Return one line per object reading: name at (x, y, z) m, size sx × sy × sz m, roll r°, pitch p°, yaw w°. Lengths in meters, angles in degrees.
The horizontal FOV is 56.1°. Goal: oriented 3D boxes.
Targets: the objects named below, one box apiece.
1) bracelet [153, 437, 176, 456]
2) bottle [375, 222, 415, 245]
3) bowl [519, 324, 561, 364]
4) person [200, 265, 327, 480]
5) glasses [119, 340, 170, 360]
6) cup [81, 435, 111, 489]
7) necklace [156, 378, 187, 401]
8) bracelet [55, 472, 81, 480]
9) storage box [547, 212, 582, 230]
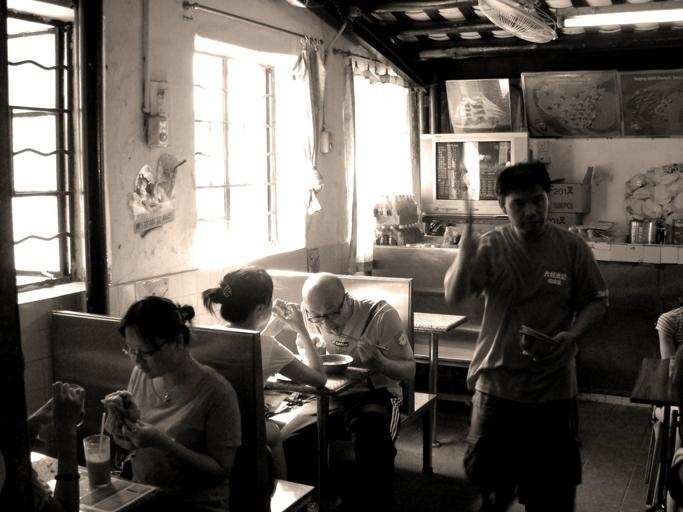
bracelet at (-0.640, 0.692, 2.349) m, size 0.061 × 0.065 × 0.063 m, roll 19°, pitch -1°, yaw -39°
bottle at (0.549, -0.213, 6.378) m, size 0.547 × 0.202 × 0.197 m, roll -8°, pitch 7°, yaw -38°
bowl at (0.827, 0.353, 2.658) m, size 0.152 × 0.067 × 0.140 m, roll 26°, pitch -5°, yaw 3°
person at (-0.443, 0.632, 3.214) m, size 0.557 × 1.122 × 0.567 m, roll -9°, pitch 17°, yaw -40°
glasses at (-0.747, 0.385, 2.521) m, size 0.103 × 0.034 × 0.111 m, roll -2°, pitch 19°, yaw 21°
cup at (-0.893, 0.747, 2.358) m, size 0.084 × 0.151 × 0.150 m, roll -5°, pitch 6°, yaw -23°
necklace at (-0.683, 0.539, 2.595) m, size 0.109 × 0.112 × 0.033 m, roll -12°, pitch -1°, yaw 36°
bracelet at (-0.906, 0.728, 2.120) m, size 0.068 × 0.031 × 0.021 m, roll -4°, pitch 5°, yaw -8°
storage box at (2.300, -0.375, 6.561) m, size 0.290 × 0.195 × 0.286 m, roll 2°, pitch 2°, yaw 29°
